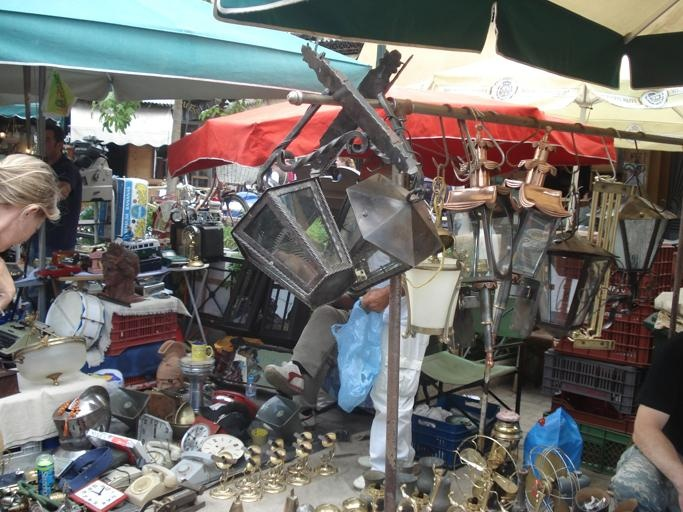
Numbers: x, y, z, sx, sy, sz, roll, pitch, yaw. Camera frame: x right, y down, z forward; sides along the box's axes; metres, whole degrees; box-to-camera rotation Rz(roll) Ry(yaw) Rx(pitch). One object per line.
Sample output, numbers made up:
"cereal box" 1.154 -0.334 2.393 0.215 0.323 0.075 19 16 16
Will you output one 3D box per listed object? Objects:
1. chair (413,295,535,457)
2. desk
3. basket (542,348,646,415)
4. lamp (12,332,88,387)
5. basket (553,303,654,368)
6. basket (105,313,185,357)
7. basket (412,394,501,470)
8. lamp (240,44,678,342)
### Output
"chair" 1.156 0.997 5.425 1.052 1.335 1.076 8 -7 11
"desk" -2.043 0.481 6.507 0.982 0.599 0.955 1 1 -9
"basket" 2.238 1.080 4.909 0.640 0.343 0.850 15 -7 -25
"lamp" -1.990 0.671 4.063 0.368 0.229 0.354 -23 -20 -12
"basket" 2.314 0.659 4.989 0.732 0.414 0.762 1 -2 43
"basket" -2.095 0.741 6.138 0.786 0.345 0.861 -5 -3 -33
"basket" 0.976 1.448 5.085 0.735 0.427 0.722 -2 4 -42
"lamp" 0.228 -0.294 2.562 1.281 1.294 0.688 -2 6 -36
